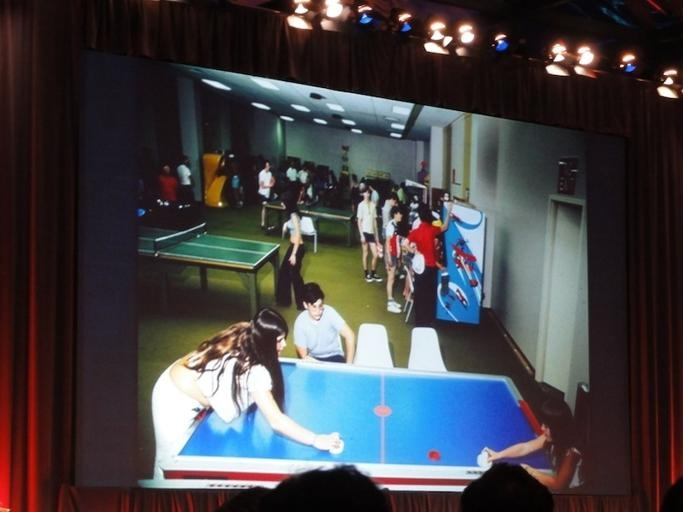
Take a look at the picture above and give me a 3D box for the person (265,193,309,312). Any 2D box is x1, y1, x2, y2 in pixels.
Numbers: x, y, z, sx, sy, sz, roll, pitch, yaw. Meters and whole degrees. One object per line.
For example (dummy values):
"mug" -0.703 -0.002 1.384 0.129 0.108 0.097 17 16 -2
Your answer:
"person" -0.404 -0.030 4.171 0.292 0.952 0.257 8 22 23
